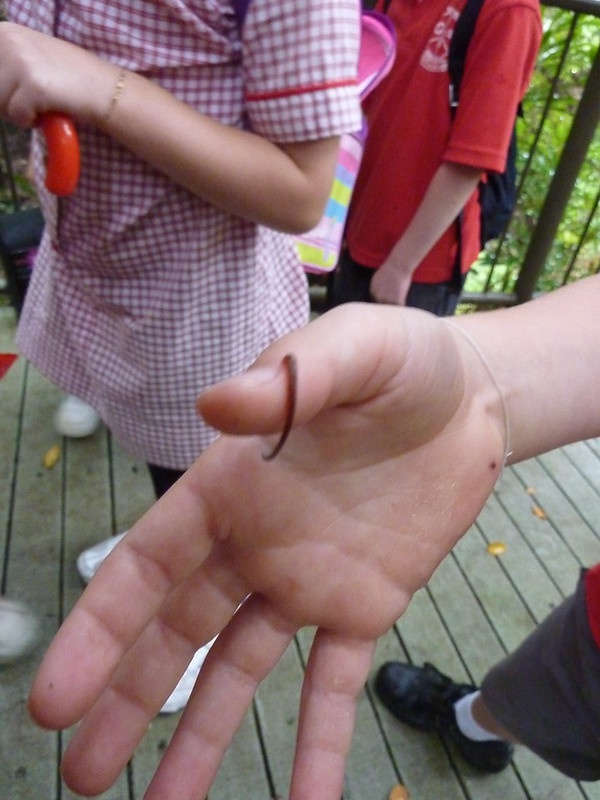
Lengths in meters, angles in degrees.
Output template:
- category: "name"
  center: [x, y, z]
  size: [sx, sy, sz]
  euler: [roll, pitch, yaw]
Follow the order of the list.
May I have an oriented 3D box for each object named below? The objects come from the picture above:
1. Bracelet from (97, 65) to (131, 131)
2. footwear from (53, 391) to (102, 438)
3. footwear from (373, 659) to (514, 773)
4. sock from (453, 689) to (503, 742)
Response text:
- category: "Bracelet"
  center: [-0.199, -0.328, 0.724]
  size: [0.011, 0.048, 0.050]
  euler: [17, 48, 2]
- category: "footwear"
  center: [-0.701, 0.061, 2.094]
  size: [0.113, 0.125, 0.136]
  euler: [7, 77, -19]
- category: "footwear"
  center: [0.337, 0.702, 1.573]
  size: [0.324, 0.140, 0.159]
  euler: [41, 51, 0]
- category: "sock"
  center: [0.397, 0.684, 1.466]
  size: [0.108, 0.087, 0.107]
  euler: [1, 72, 23]
